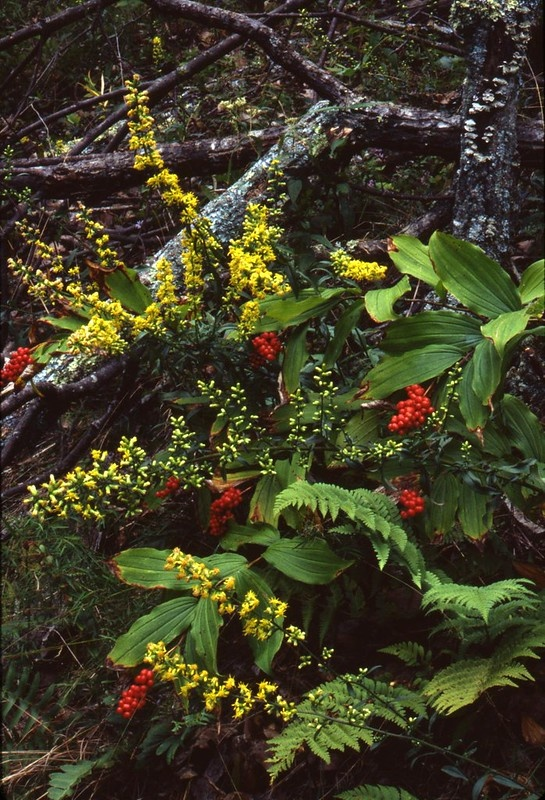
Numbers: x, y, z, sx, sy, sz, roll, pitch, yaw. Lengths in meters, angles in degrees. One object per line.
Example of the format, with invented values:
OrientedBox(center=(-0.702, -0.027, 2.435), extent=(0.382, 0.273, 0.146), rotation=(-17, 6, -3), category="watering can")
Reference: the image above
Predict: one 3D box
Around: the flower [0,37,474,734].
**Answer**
OrientedBox(center=(-0.326, -0.065, 2.577), extent=(1.489, 2.081, 1.375), rotation=(-2, 16, 9), category="flower")

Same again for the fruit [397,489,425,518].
OrientedBox(center=(0.468, 0.355, 2.387), extent=(0.058, 0.093, 0.098), rotation=(-5, 26, -28), category="fruit")

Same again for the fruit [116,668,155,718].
OrientedBox(center=(-0.416, 0.915, 2.194), extent=(0.103, 0.150, 0.149), rotation=(-4, 16, 3), category="fruit")

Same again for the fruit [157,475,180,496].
OrientedBox(center=(-0.366, 0.316, 2.502), extent=(0.038, 0.098, 0.056), rotation=(24, 29, -43), category="fruit")

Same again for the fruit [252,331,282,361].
OrientedBox(center=(-0.019, -0.200, 2.641), extent=(0.095, 0.079, 0.116), rotation=(-13, -5, 0), category="fruit")

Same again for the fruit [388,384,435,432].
OrientedBox(center=(0.481, 0.026, 2.441), extent=(0.148, 0.159, 0.213), rotation=(-1, 16, 12), category="fruit")
